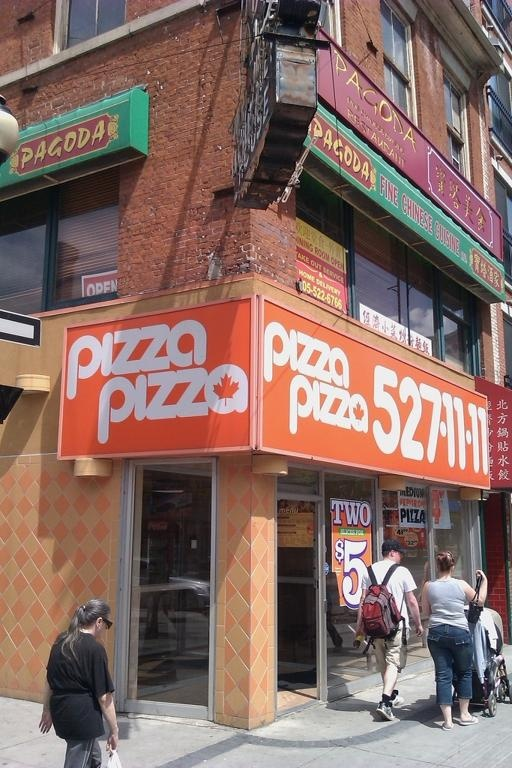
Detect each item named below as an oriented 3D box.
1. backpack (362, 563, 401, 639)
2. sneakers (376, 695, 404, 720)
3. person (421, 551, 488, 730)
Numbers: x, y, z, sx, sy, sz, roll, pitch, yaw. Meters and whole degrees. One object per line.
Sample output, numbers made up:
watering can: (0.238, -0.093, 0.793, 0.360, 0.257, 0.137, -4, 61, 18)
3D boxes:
backpack: (1.244, 2.148, 7.060, 0.448, 0.831, 0.443, -8, -30, 23)
sneakers: (1.357, 3.157, 7.042, 0.170, 0.232, 0.520, -3, -18, 26)
person: (1.873, 2.391, 6.814, 0.578, 1.548, 0.732, -4, -12, 18)
